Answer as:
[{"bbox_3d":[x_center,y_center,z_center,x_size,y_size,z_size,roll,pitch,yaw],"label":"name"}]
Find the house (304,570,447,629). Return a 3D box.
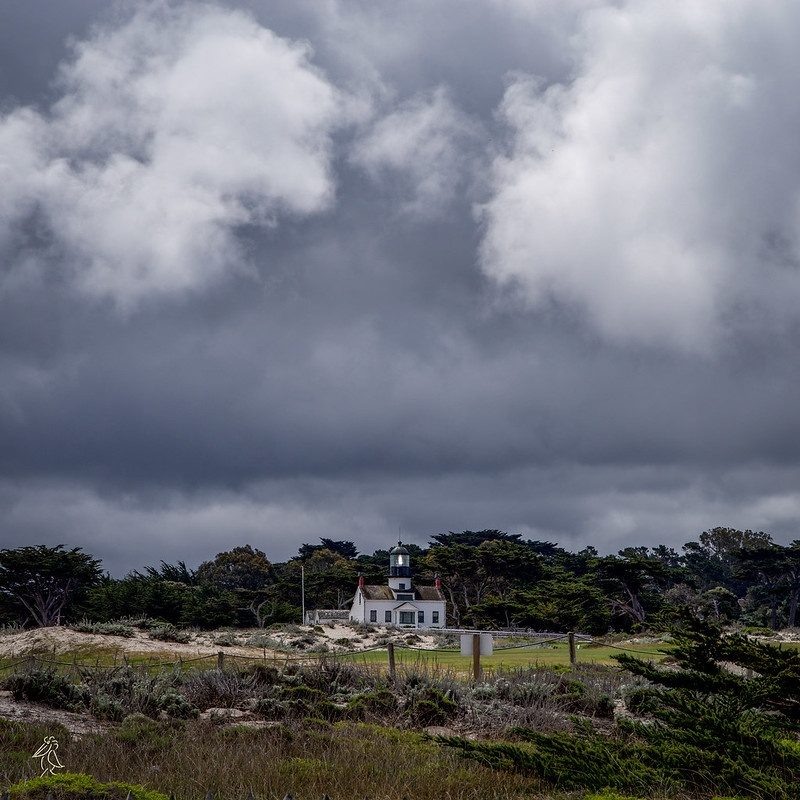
[{"bbox_3d":[-0.792,15.696,85.162,8.026,2.701,4.117,1,-6,-17],"label":"house"}]
